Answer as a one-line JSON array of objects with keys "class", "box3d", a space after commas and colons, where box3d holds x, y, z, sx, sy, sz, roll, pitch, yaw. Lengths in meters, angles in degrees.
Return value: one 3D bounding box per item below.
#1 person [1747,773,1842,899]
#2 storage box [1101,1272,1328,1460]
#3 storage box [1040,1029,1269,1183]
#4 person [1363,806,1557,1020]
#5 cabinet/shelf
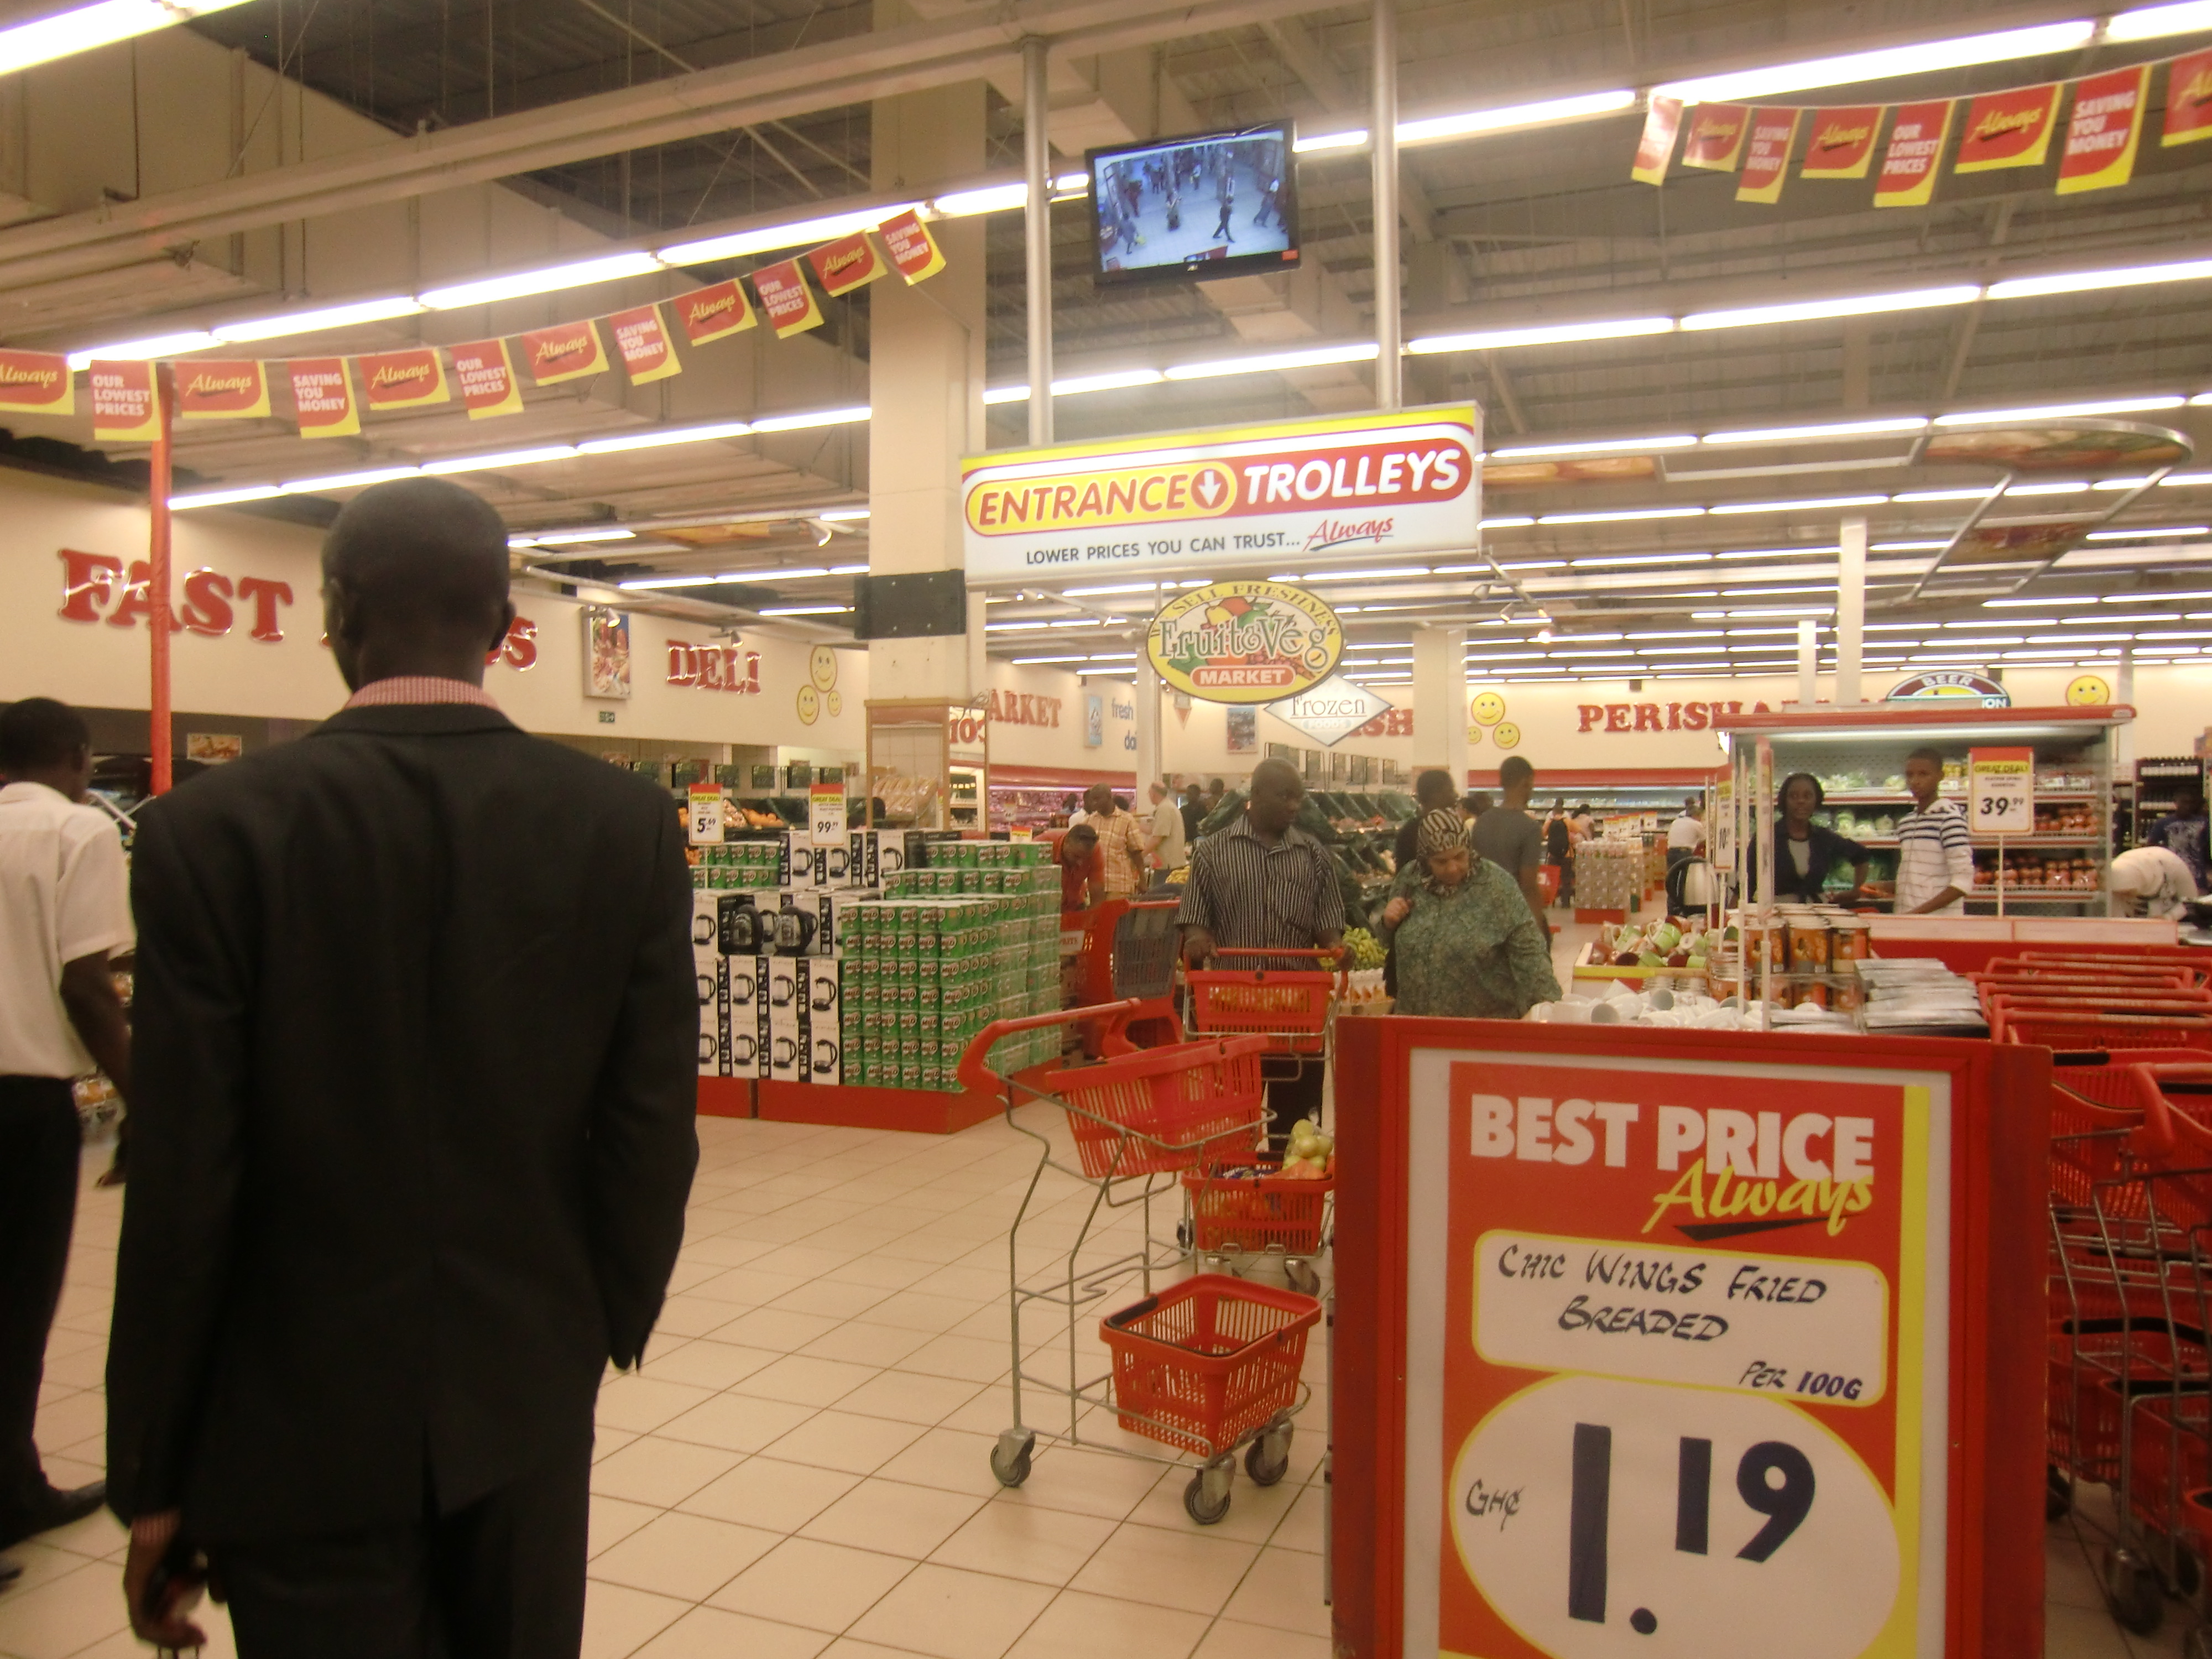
[{"class": "person", "box3d": [3.827, 0.047, 9.055, 0.367, 0.706, 1.277, 3, 8, 25]}, {"class": "storage box", "box3d": [0.344, 1.522, 4.975, 0.457, 0.263, 0.583, 18, -28, -17]}, {"class": "storage box", "box3d": [0.232, 0.809, 5.179, 0.629, 0.477, 0.855, 14, -4, -1]}, {"class": "person", "box3d": [1.300, 0.315, 5.913, 0.549, 0.721, 0.499, 1, 8, 13]}, {"class": "cabinet/shelf", "box3d": [5.239, -0.113, 9.867, 1.249, 1.097, 0.504, -1, 11, 21]}]
